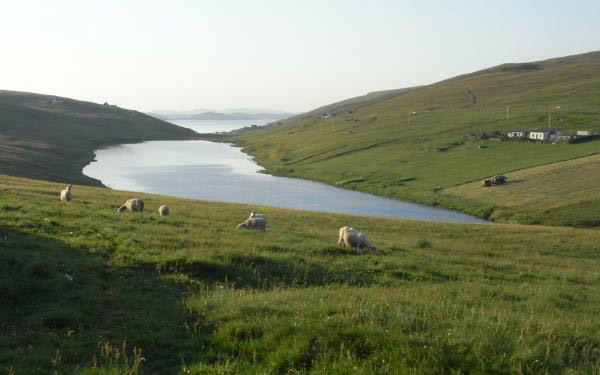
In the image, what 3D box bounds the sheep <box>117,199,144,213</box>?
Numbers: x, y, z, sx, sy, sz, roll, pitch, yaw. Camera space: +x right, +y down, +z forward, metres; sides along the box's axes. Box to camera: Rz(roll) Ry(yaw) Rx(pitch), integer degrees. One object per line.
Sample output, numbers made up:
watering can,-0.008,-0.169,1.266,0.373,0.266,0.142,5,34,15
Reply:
sheep,-19.205,2.066,65.412,2.161,1.495,1.877,7,9,0
